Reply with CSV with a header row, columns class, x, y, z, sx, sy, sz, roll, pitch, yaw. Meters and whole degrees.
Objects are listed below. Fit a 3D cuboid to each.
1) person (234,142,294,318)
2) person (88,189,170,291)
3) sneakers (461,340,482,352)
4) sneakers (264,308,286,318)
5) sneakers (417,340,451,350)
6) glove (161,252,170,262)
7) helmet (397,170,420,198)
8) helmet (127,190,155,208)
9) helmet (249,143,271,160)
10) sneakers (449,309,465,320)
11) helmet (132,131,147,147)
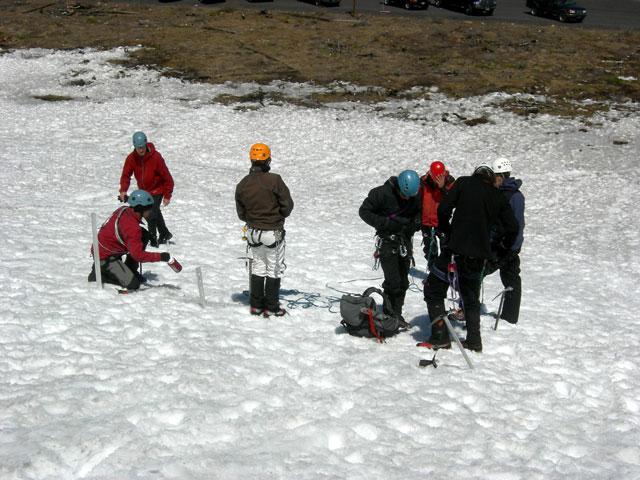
class,x,y,z,sx,sy,sz,roll,pitch,yaw
person,-1.131,-0.092,15.670,1.076,3.452,1.021,0,27,-9
person,-3.995,0.062,15.880,1.505,2.111,1.005,-3,26,-13
sneakers,3.002,2.106,15.397,0.517,0.140,0.149,10,11,6
sneakers,-0.914,1.521,16.011,0.532,0.146,0.138,-4,48,-10
sneakers,2.244,2.094,15.410,0.746,0.193,0.195,3,-5,5
glove,-3.139,0.364,15.800,0.188,0.275,0.197,-1,24,-10
helmet,1.659,-1.088,15.157,0.542,0.474,0.446,4,-20,-8
helmet,-3.643,-0.829,15.802,0.581,0.229,0.343,0,14,2
helmet,-1.170,-1.775,15.569,0.468,0.327,0.496,-8,10,-8
sneakers,2.821,1.582,16.316,0.188,0.165,0.504,-6,11,-35
helmet,-4.057,-2.289,17.618,0.434,0.337,0.372,-2,61,-6
